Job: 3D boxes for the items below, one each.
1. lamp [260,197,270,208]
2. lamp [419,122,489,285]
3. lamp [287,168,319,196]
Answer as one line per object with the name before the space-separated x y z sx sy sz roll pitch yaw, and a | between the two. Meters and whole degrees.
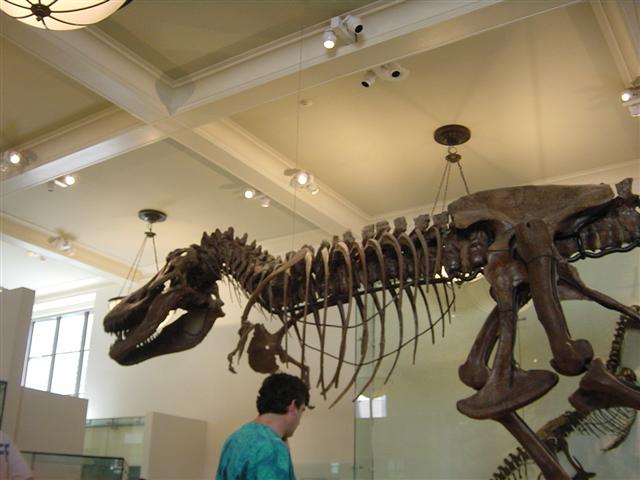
lamp | -0.685 -0.462 6.244 0.084 0.105 0.084 -8 -30 6
lamp | 1.500 -0.287 5.606 0.482 1.469 1.461 -6 -16 13
lamp | -0.224 -0.699 5.796 0.309 0.122 0.311 11 -25 16
